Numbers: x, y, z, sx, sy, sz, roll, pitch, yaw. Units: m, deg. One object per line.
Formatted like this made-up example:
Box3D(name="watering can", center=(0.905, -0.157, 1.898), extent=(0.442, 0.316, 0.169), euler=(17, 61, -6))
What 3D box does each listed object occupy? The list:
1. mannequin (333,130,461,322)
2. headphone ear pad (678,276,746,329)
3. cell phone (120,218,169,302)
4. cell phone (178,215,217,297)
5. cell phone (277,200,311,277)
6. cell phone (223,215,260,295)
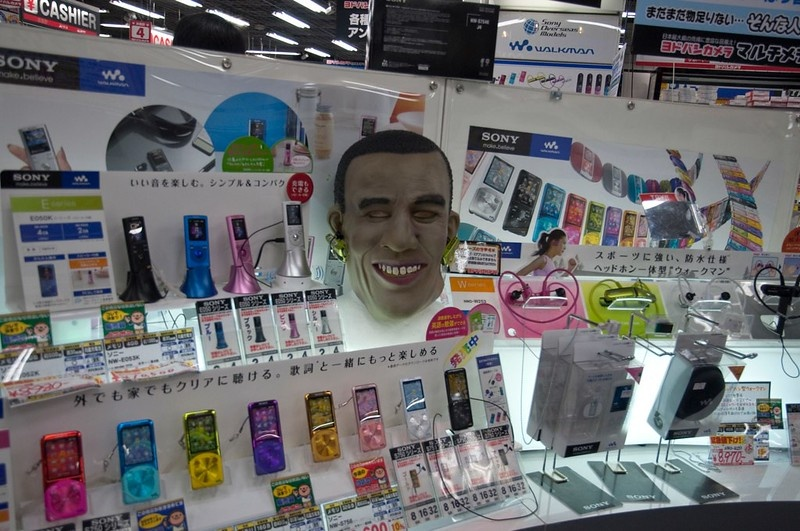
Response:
Box3D(name="mannequin", center=(-0.063, -0.190, 2.913), extent=(0.623, 0.996, 0.641), euler=(1, 2, 16))
Box3D(name="headphone ear pad", center=(1.715, 0.213, 3.073), extent=(0.298, 0.297, 0.074), euler=(4, -10, -3))
Box3D(name="cell phone", center=(-1.153, -0.010, 2.438), extent=(0.143, 0.283, 0.142), euler=(-9, 12, -36))
Box3D(name="cell phone", center=(-0.907, -0.039, 2.471), extent=(0.149, 0.357, 0.095), euler=(-6, 9, -23))
Box3D(name="cell phone", center=(-0.506, -0.116, 2.604), extent=(0.146, 0.357, 0.058), euler=(-4, 9, -12))
Box3D(name="cell phone", center=(-0.730, -0.052, 2.537), extent=(0.166, 0.349, 0.129), euler=(-5, 9, -17))
